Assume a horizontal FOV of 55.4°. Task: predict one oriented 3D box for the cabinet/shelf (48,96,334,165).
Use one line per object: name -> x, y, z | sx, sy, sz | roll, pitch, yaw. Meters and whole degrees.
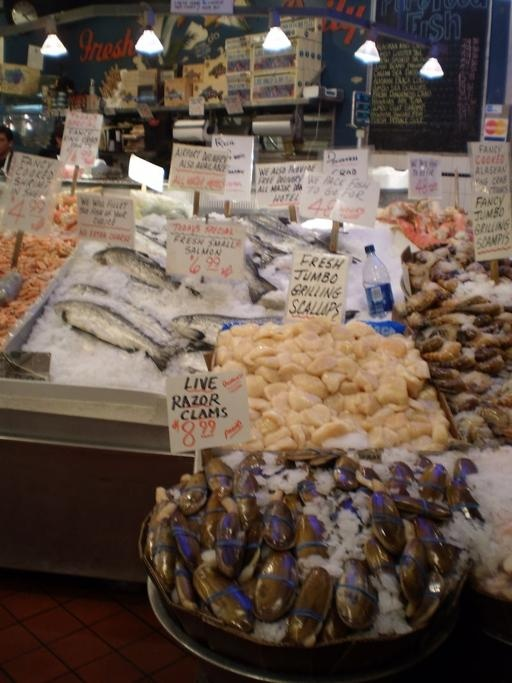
cabinet/shelf -> -0.679, -2.895, 6.818 | 3.578, 0.848, 1.278 | 10, 17, 26
